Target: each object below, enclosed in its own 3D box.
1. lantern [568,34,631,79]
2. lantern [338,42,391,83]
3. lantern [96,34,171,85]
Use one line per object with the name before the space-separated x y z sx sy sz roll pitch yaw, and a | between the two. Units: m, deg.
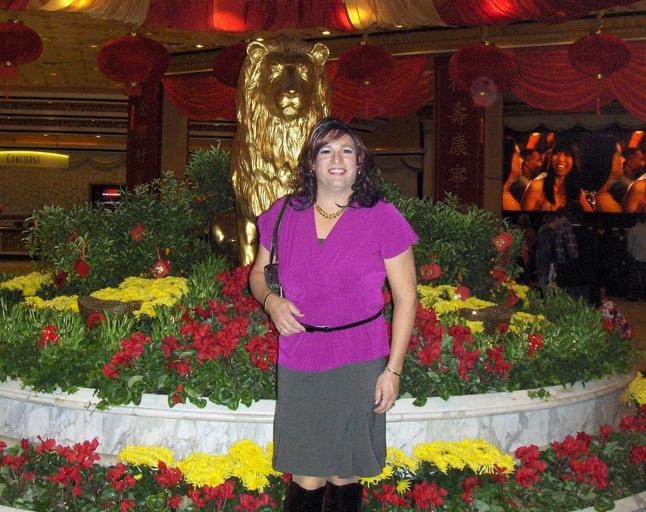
lantern | 2.550 -1.877 5.286 0.514 0.411 0.297 0 -3 22
lantern | 0.445 -2.087 6.064 0.569 0.420 0.254 1 -2 7
lantern | -1.752 -1.874 5.308 0.603 0.518 0.398 1 -2 -9
